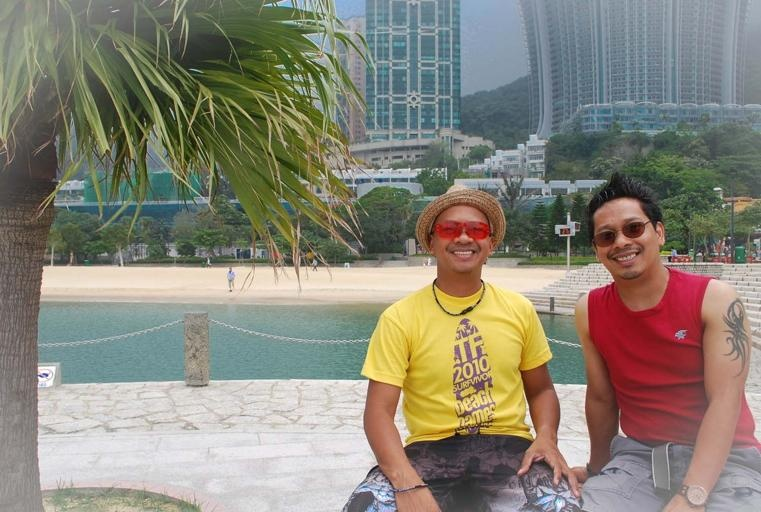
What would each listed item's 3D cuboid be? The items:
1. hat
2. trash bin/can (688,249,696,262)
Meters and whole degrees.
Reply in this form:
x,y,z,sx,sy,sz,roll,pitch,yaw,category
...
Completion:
x,y,z,sx,sy,sz,roll,pitch,yaw,category
0.521,-0.276,4.093,0.434,0.450,0.138,15,47,-13,hat
22.511,-0.107,49.432,0.593,0.998,0.571,-3,4,-44,trash bin/can
